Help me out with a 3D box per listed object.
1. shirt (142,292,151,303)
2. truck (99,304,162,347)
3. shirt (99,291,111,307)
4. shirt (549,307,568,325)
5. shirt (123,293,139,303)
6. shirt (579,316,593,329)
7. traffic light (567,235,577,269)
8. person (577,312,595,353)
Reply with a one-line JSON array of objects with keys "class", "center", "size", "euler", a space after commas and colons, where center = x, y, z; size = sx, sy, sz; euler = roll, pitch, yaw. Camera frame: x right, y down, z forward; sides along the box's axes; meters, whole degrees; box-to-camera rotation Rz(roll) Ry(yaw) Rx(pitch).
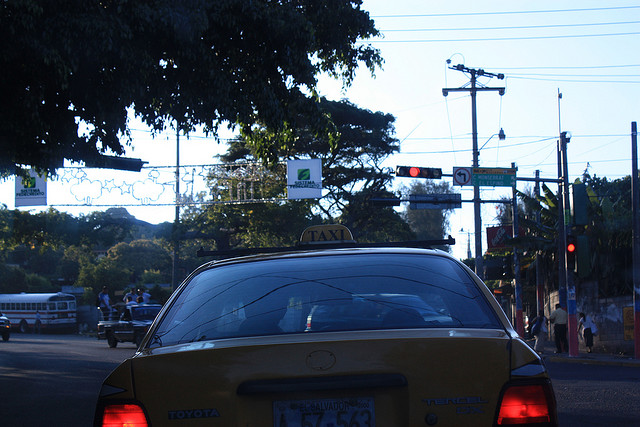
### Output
[{"class": "shirt", "center": [-8.133, 4.020, 55.790], "size": [0.477, 0.612, 0.305], "euler": [5, -16, -13]}, {"class": "truck", "center": [-8.676, 4.995, 53.026], "size": [1.700, 1.645, 3.182], "euler": [3, -10, -36]}, {"class": "shirt", "center": [-10.415, 4.187, 57.617], "size": [0.418, 1.015, 0.749], "euler": [-5, -7, 28]}, {"class": "shirt", "center": [10.384, 4.512, 51.569], "size": [0.708, 0.829, 0.465], "euler": [0, 1, 17]}, {"class": "shirt", "center": [-8.967, 4.049, 56.162], "size": [0.590, 0.473, 2.451], "euler": [0, -7, -10]}, {"class": "shirt", "center": [11.759, 4.886, 52.624], "size": [0.577, 0.733, 0.376], "euler": [0, -4, 16]}, {"class": "traffic light", "center": [10.207, 1.596, 48.122], "size": [0.412, 1.366, 0.384], "euler": [-1, -4, 3]}, {"class": "person", "center": [11.916, 5.357, 53.106], "size": [0.789, 0.677, 2.080], "euler": [-15, -48, 9]}]
